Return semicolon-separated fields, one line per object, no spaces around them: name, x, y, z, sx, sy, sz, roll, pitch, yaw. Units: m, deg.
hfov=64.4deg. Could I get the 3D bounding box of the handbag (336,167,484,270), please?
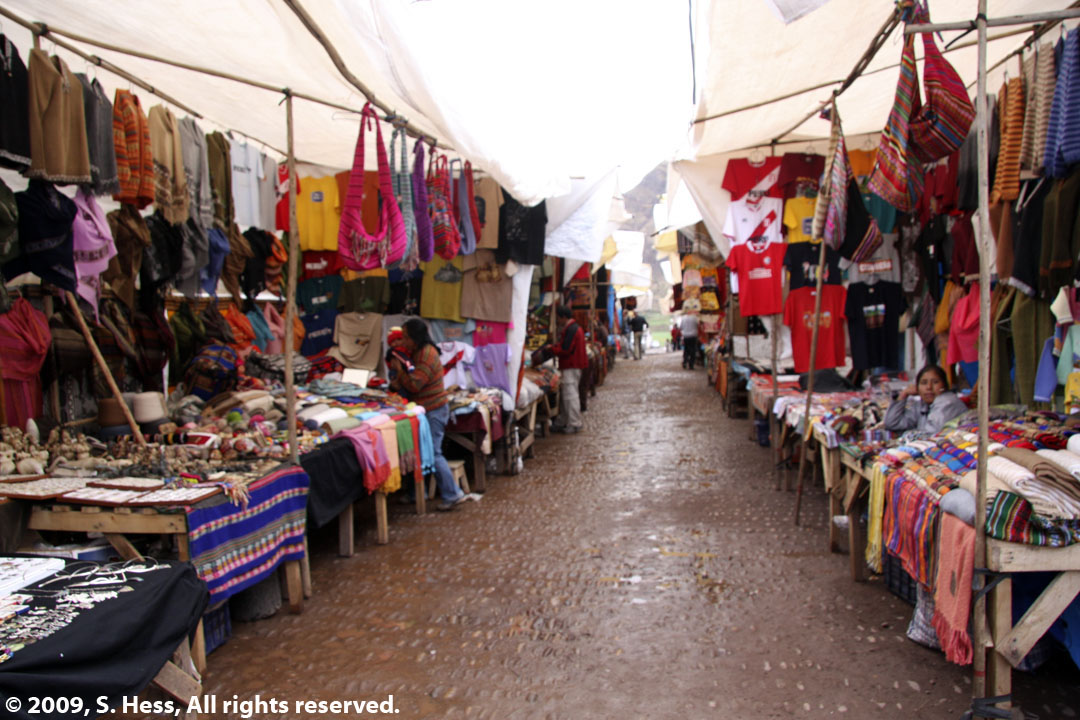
handbag;-1.395;-1.443;9.019;1.449;1.085;0.812;-1;10;-1
